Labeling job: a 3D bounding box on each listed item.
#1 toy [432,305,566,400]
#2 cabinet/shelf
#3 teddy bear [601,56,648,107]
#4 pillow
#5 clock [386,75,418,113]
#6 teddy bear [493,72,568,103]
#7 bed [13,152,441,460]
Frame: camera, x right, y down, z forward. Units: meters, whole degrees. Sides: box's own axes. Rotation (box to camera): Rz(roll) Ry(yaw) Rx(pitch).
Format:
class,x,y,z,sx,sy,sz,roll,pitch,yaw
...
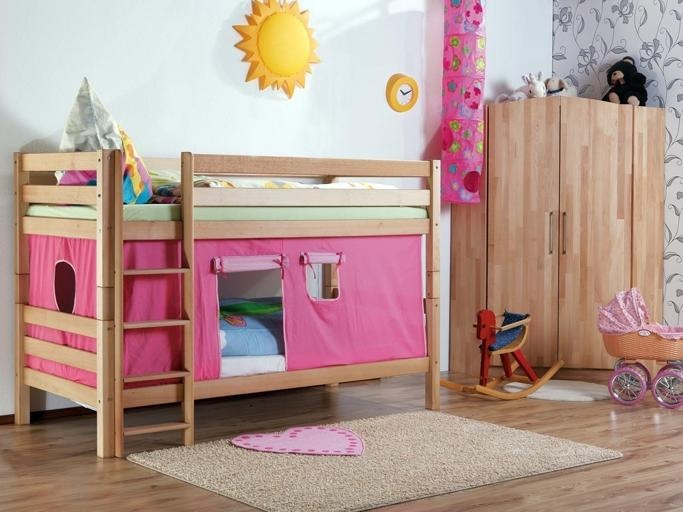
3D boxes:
class,x,y,z,sx,sy,sz,roll,pitch,yaw
toy,1.087,0.642,4.661,0.755,0.590,0.448,-3,2,-38
cabinet/shelf,1.742,-0.411,5.450,1.499,2.411,0.922,-6,45,10
teddy bear,2.139,-1.324,5.212,0.253,0.343,0.300,-22,20,-36
pillow,-1.225,-0.598,3.571,0.477,0.647,0.419,-1,4,-13
clock,0.455,-1.207,5.121,0.266,0.288,0.046,-2,4,-31
teddy bear,1.463,-1.267,5.268,0.380,0.148,0.303,-12,6,24
bed,-0.657,0.154,4.186,2.393,1.483,1.272,-3,4,-43
